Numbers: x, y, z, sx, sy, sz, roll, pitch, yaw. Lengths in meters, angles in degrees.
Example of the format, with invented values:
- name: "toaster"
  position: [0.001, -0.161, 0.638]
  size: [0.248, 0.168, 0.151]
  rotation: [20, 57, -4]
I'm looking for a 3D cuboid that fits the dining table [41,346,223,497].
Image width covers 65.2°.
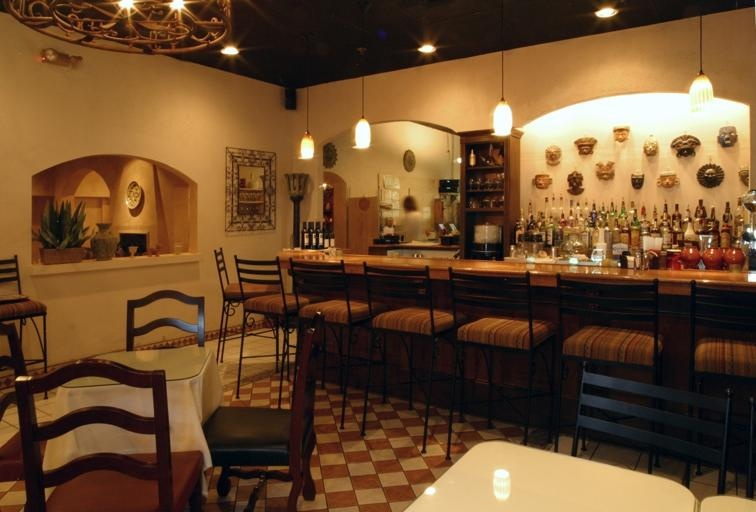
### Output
- name: "dining table"
  position: [-1.727, 1.074, 4.341]
  size: [1.113, 0.676, 1.163]
  rotation: [1, -1, 7]

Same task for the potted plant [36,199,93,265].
- name: "potted plant"
  position: [-3.795, -0.279, 7.127]
  size: [0.560, 0.729, 0.398]
  rotation: [-6, 8, -36]

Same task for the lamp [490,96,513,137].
- name: "lamp"
  position: [1.331, -1.491, 6.342]
  size: [0.181, 0.374, 0.270]
  rotation: [-1, 6, 6]

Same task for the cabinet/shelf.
- name: "cabinet/shelf"
  position: [1.536, -0.846, 8.183]
  size: [0.729, 1.743, 0.507]
  rotation: [2, 7, 29]

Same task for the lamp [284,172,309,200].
- name: "lamp"
  position: [-1.248, -1.098, 9.323]
  size: [0.382, 0.407, 0.388]
  rotation: [6, 7, 44]

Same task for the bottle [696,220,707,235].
- name: "bottle"
  position: [3.944, -0.359, 7.220]
  size: [0.119, 0.174, 0.155]
  rotation: [2, 7, 27]

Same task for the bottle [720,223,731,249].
- name: "bottle"
  position: [4.171, -0.245, 7.108]
  size: [0.117, 0.265, 0.238]
  rotation: [3, 7, 34]

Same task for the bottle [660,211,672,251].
- name: "bottle"
  position: [3.575, -0.325, 7.355]
  size: [0.137, 0.428, 0.563]
  rotation: [1, 7, 25]

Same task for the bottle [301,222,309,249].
- name: "bottle"
  position: [-0.917, -0.259, 7.557]
  size: [0.094, 0.310, 0.330]
  rotation: [-2, 6, -7]

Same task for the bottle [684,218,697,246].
- name: "bottle"
  position: [3.791, -0.299, 7.172]
  size: [0.142, 0.275, 0.353]
  rotation: [2, 7, 28]

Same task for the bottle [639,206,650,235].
- name: "bottle"
  position: [3.419, -0.465, 7.587]
  size: [0.128, 0.342, 0.417]
  rotation: [1, 7, 23]

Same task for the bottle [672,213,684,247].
- name: "bottle"
  position: [3.747, -0.341, 7.411]
  size: [0.151, 0.416, 0.336]
  rotation: [2, 7, 27]

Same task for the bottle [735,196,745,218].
- name: "bottle"
  position: [4.319, -0.584, 7.057]
  size: [0.109, 0.260, 0.332]
  rotation: [2, 7, 31]

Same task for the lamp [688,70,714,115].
- name: "lamp"
  position: [3.258, -1.665, 5.975]
  size: [0.194, 0.392, 0.205]
  rotation: [1, 7, 25]

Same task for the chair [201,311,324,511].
- name: "chair"
  position: [-0.851, 1.202, 4.492]
  size: [0.868, 1.498, 0.783]
  rotation: [-2, 6, -7]

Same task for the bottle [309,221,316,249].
- name: "bottle"
  position: [-0.824, -0.262, 7.512]
  size: [0.085, 0.311, 0.349]
  rotation: [-2, 6, -5]

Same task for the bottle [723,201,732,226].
- name: "bottle"
  position: [4.234, -0.521, 7.173]
  size: [0.107, 0.257, 0.131]
  rotation: [1, 6, 20]

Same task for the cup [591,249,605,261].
- name: "cup"
  position: [2.133, -0.011, 5.767]
  size: [0.109, 0.113, 0.113]
  rotation: [2, 1, 0]

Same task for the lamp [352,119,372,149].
- name: "lamp"
  position: [-0.191, -1.532, 7.275]
  size: [0.179, 0.379, 0.673]
  rotation: [-2, 6, -4]
